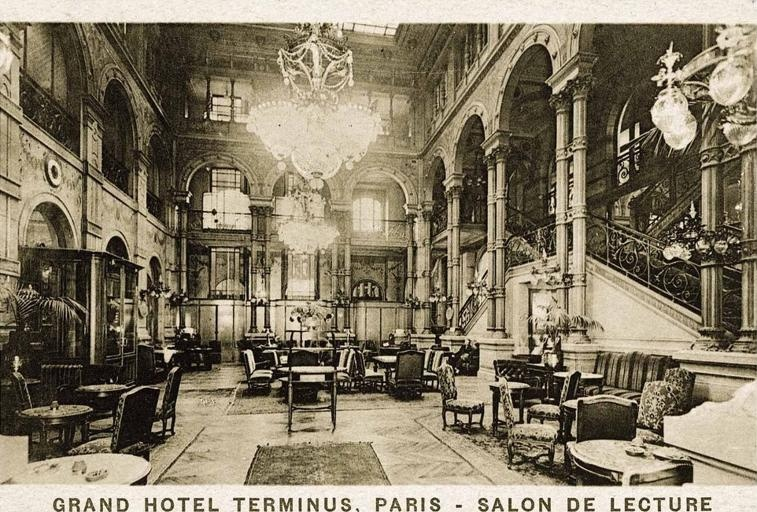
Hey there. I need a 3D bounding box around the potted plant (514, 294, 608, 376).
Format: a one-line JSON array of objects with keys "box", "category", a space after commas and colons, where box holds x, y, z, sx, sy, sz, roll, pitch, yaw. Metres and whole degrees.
[{"box": [3.959, 1.604, 17.553, 1.633, 1.483, 1.570, -6, -20, 29], "category": "potted plant"}]

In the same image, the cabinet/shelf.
[{"box": [-6.863, 1.461, 17.741, 1.239, 2.753, 3.054, -1, -9, -4], "category": "cabinet/shelf"}]

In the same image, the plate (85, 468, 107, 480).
[{"box": [-4.377, 3.411, 12.131, 0.197, 0.071, 0.147, -3, 7, -39], "category": "plate"}]

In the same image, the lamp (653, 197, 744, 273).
[{"box": [6.303, -0.321, 15.067, 1.445, 0.989, 0.779, -5, -9, 32], "category": "lamp"}]

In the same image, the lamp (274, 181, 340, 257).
[{"box": [-2.374, -1.182, 26.481, 1.640, 2.675, 1.689, 16, -31, -25], "category": "lamp"}]

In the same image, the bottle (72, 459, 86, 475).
[{"box": [-4.716, 3.329, 12.283, 0.151, 0.195, 0.203, -1, -9, 3], "category": "bottle"}]

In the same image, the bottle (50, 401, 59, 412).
[{"box": [-6.040, 2.790, 14.527, 0.143, 0.185, 0.305, 3, -9, -24], "category": "bottle"}]

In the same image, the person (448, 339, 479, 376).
[{"box": [2.509, 3.026, 23.064, 0.898, 1.179, 0.855, 4, -13, -16], "category": "person"}]
